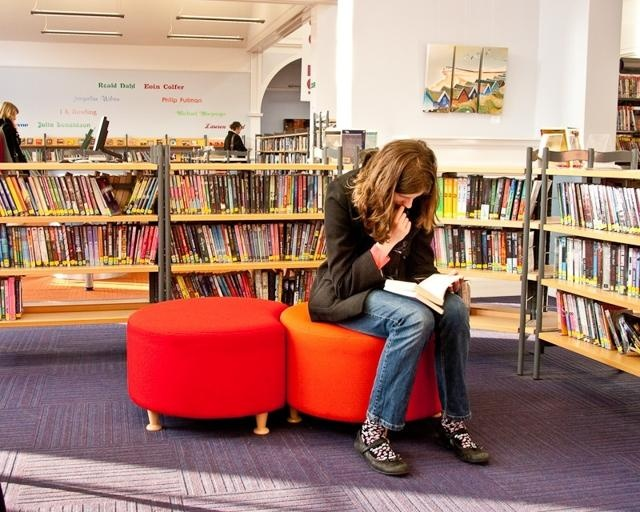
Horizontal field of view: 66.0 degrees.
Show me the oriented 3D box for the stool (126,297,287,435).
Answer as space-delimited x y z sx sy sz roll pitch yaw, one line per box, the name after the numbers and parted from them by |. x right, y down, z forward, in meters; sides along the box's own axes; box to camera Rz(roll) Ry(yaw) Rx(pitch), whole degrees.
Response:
-0.479 0.600 2.562 0.821 0.459 0.797 -4 -4 28 | stool

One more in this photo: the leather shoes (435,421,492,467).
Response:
0.606 0.797 2.160 0.100 0.108 0.287 -9 11 -27 | leather shoes

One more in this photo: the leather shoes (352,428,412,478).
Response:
0.247 0.811 2.068 0.100 0.095 0.253 -8 13 -34 | leather shoes

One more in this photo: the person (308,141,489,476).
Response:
0.351 0.185 2.174 0.801 1.381 0.585 1 7 -1 | person

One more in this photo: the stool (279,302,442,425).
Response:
0.156 0.502 2.366 0.605 0.357 0.560 2 6 -13 | stool
